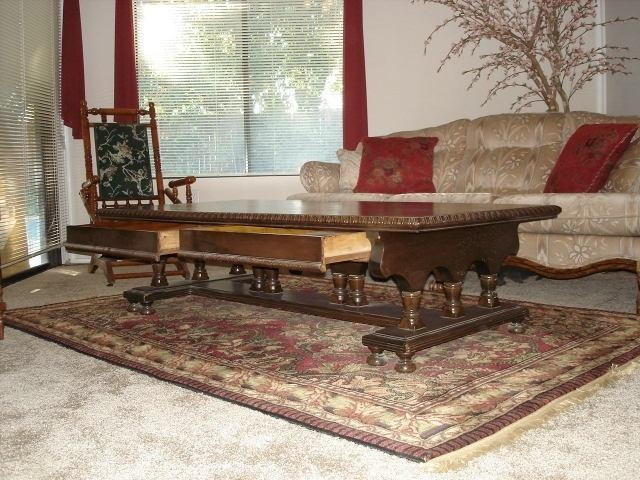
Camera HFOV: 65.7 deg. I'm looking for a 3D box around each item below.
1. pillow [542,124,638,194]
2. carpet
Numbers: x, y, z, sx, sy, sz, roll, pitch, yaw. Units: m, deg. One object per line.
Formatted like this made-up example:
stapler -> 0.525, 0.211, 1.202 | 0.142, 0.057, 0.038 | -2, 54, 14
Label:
pillow -> 1.598, -0.494, 2.959 | 0.420, 0.415, 0.439 | -3, 9, -5
carpet -> -0.001, 0.405, 2.122 | 2.103, 0.032, 1.409 | 4, 8, 38
